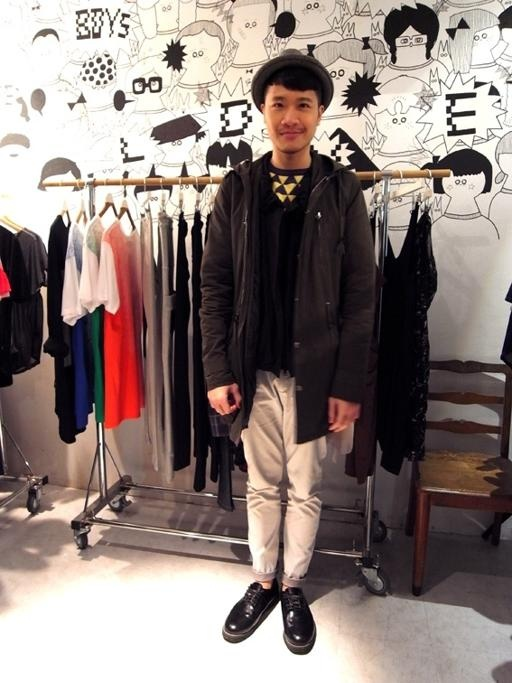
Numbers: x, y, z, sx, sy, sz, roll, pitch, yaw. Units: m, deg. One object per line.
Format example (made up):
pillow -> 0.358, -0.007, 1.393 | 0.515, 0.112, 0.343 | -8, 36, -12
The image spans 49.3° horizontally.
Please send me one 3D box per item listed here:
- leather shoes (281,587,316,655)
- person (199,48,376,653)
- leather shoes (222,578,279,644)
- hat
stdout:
leather shoes -> 0.143, 0.924, 1.850 | 0.064, 0.095, 0.207 | -1, 14, 0
person -> 0.095, -0.002, 1.771 | 0.538, 1.703, 0.279 | 0, 8, -5
leather shoes -> -0.021, 0.918, 1.909 | 0.077, 0.120, 0.262 | 3, 2, 20
hat -> 0.108, -0.773, 1.683 | 0.241, 0.126, 0.159 | 1, 10, 1
